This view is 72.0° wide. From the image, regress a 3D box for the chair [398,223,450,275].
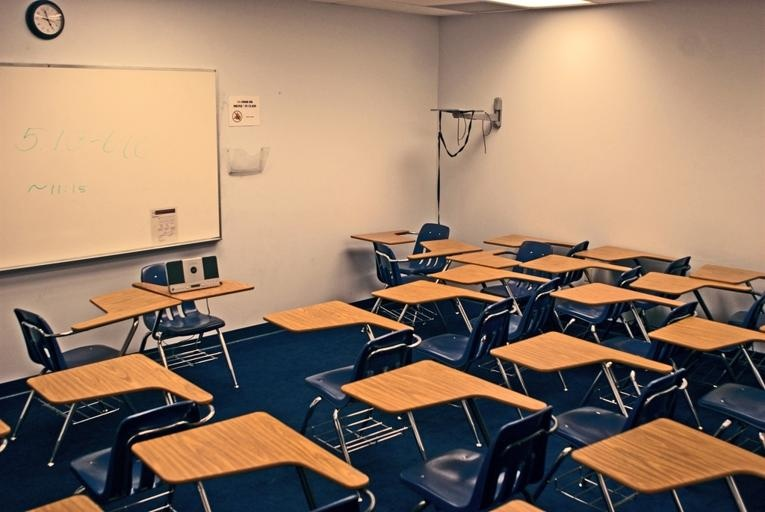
[{"bbox_3d":[0.518,-0.103,7.490,0.794,0.718,0.829,2,4,-44],"label":"chair"}]
